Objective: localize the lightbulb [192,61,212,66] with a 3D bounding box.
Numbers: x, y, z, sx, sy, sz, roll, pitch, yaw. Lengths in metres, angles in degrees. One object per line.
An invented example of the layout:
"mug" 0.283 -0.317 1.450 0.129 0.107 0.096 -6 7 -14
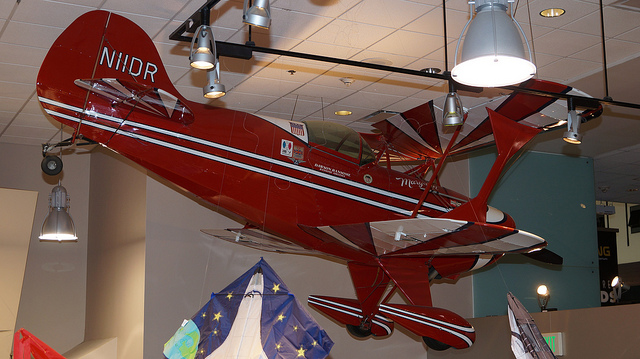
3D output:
"lightbulb" -1.587 -1.574 7.611 0.243 0.061 0.038 -1 -16 -5

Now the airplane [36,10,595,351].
"airplane" -0.453 -0.027 9.498 6.988 3.152 7.402 20 -12 -19
